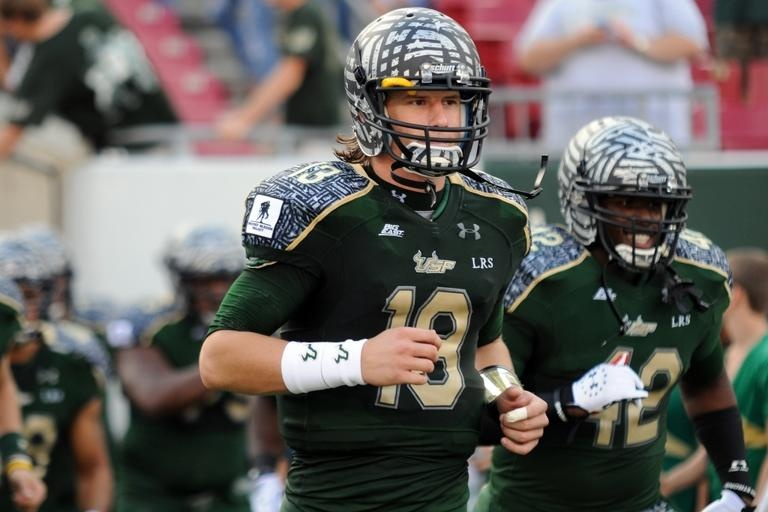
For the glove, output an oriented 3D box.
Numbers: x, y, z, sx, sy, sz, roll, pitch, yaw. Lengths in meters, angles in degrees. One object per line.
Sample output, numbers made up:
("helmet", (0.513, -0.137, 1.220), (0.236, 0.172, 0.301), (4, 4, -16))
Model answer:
("glove", (1.084, 0.674, 6.819), (0.386, 0.227, 0.136), (-19, -38, 23))
